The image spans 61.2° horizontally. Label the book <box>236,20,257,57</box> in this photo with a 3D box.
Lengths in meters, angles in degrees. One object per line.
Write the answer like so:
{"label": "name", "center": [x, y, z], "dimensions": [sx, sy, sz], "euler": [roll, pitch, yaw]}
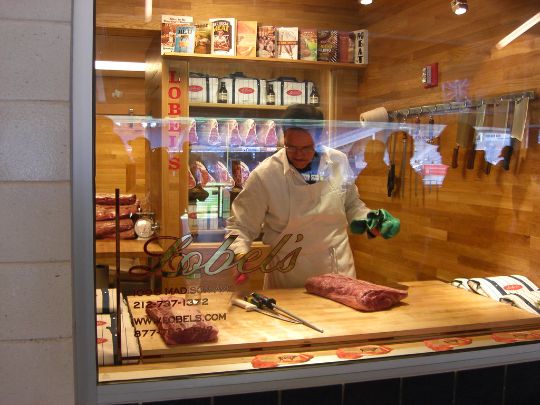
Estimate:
{"label": "book", "center": [-0.071, -0.502, 1.400], "dimensions": [0.065, 0.113, 0.032], "euler": [-2, 6, -2]}

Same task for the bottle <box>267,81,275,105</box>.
{"label": "bottle", "center": [0.003, -0.340, 1.412], "dimensions": [0.031, 0.072, 0.010], "euler": [-2, 6, 1]}

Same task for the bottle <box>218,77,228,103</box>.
{"label": "bottle", "center": [-0.143, -0.337, 1.378], "dimensions": [0.032, 0.072, 0.012], "euler": [-3, 6, -15]}

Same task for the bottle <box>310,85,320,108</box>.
{"label": "bottle", "center": [0.139, -0.336, 1.432], "dimensions": [0.035, 0.068, 0.007], "euler": [-3, 6, -8]}

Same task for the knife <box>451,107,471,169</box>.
{"label": "knife", "center": [0.684, -0.229, 1.630], "dimensions": [0.066, 0.222, 0.013], "euler": [-2, 13, -25]}

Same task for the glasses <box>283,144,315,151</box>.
{"label": "glasses", "center": [0.095, -0.172, 1.444], "dimensions": [0.092, 0.018, 0.010], "euler": [-3, 6, -15]}

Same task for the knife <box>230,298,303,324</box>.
{"label": "knife", "center": [-0.021, 0.344, 1.442], "dimensions": [0.218, 0.025, 0.038], "euler": [14, -2, -3]}

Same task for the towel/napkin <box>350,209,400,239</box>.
{"label": "towel/napkin", "center": [0.363, 0.075, 1.560], "dimensions": [0.136, 0.060, 0.111], "euler": [8, 0, -25]}

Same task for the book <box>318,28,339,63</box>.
{"label": "book", "center": [0.185, -0.501, 1.448], "dimensions": [0.101, 0.090, 0.023], "euler": [0, 1, -18]}

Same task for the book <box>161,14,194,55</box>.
{"label": "book", "center": [-0.278, -0.496, 1.351], "dimensions": [0.136, 0.138, 0.020], "euler": [2, -8, -14]}

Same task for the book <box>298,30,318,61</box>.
{"label": "book", "center": [0.122, -0.499, 1.435], "dimensions": [0.063, 0.102, 0.029], "euler": [-2, 6, 0]}

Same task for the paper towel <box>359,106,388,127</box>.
{"label": "paper towel", "center": [0.329, -0.298, 1.536], "dimensions": [0.115, 0.070, 0.076], "euler": [-14, 18, -26]}
